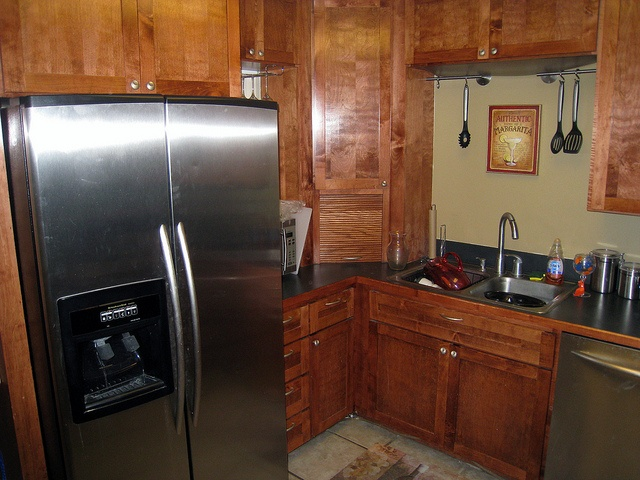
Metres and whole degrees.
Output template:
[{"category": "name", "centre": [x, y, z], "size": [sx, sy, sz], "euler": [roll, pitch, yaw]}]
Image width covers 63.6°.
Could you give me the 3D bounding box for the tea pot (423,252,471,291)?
[{"category": "tea pot", "centre": [0.801, 0.197, 3.212], "size": [0.182, 0.191, 0.273], "euler": [-6, 27, -35]}]

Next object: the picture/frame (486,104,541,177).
[{"category": "picture/frame", "centre": [1.257, -0.651, 3.302], "size": [0.397, 0.582, 0.057], "euler": [9, 14, 41]}]
